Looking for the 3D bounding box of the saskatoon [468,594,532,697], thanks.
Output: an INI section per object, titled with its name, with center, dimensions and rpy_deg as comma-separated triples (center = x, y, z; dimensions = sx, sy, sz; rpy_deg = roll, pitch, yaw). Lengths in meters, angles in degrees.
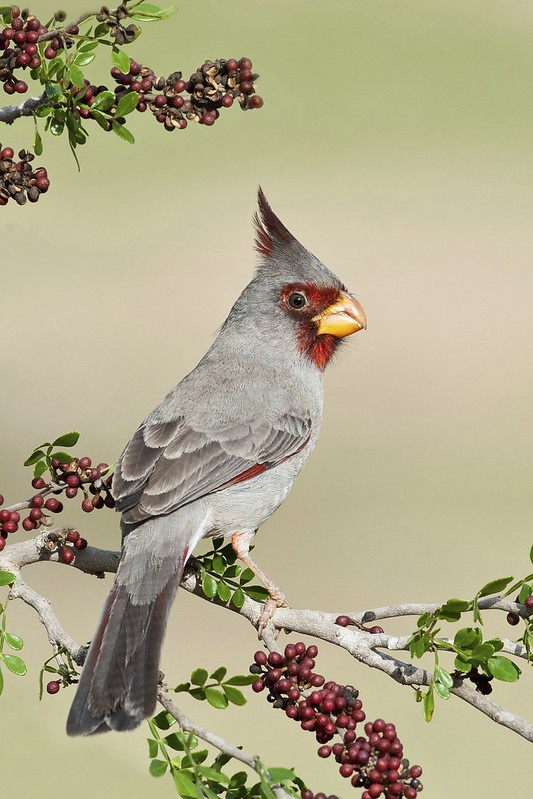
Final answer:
[saskatoon]
center = 0.576, 0.588, 2.336
dimensions = 0.156, 0.281, 0.455
rpy_deg = 8, -12, 14
